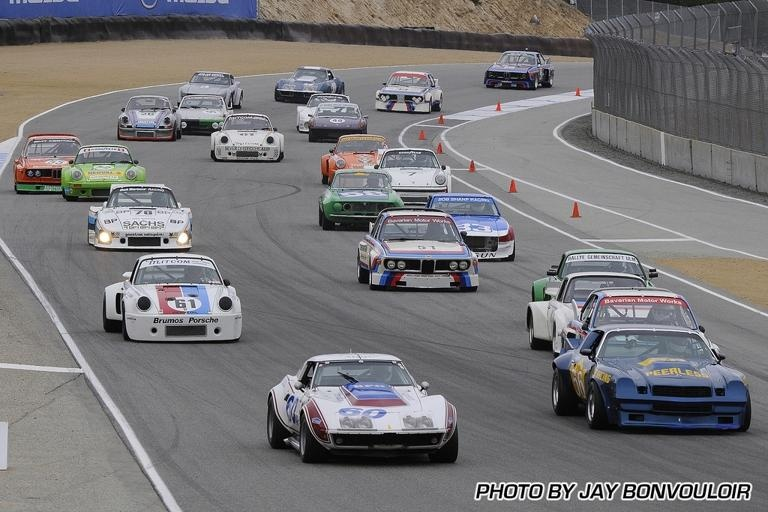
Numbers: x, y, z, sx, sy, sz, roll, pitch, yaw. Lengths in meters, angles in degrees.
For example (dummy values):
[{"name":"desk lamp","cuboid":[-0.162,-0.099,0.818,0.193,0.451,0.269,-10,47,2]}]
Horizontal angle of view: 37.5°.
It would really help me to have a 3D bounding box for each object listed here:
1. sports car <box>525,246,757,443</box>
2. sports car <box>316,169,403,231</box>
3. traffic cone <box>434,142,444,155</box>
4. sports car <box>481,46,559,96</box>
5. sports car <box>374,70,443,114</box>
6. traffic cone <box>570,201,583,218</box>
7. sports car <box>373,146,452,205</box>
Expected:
[{"name":"sports car","cuboid":[4.120,1.462,18.176,3.146,1.633,5.050,1,1,-6]},{"name":"sports car","cuboid":[-1.790,-1.548,30.479,2.194,1.574,4.804,2,2,-7]},{"name":"traffic cone","cuboid":[2.387,-4.234,44.542,0.545,0.502,0.486,0,3,-7]},{"name":"sports car","cuboid":[7.770,-10.279,62.385,2.669,1.986,6.044,4,6,35]},{"name":"sports car","cuboid":[1.246,-7.852,54.695,4.113,1.909,6.380,1,5,6]},{"name":"traffic cone","cuboid":[5.998,-1.433,35.026,0.530,0.535,0.431,-8,21,-12]},{"name":"sports car","cuboid":[0.941,-2.329,33.512,2.357,1.496,3.307,0,16,-4]}]
